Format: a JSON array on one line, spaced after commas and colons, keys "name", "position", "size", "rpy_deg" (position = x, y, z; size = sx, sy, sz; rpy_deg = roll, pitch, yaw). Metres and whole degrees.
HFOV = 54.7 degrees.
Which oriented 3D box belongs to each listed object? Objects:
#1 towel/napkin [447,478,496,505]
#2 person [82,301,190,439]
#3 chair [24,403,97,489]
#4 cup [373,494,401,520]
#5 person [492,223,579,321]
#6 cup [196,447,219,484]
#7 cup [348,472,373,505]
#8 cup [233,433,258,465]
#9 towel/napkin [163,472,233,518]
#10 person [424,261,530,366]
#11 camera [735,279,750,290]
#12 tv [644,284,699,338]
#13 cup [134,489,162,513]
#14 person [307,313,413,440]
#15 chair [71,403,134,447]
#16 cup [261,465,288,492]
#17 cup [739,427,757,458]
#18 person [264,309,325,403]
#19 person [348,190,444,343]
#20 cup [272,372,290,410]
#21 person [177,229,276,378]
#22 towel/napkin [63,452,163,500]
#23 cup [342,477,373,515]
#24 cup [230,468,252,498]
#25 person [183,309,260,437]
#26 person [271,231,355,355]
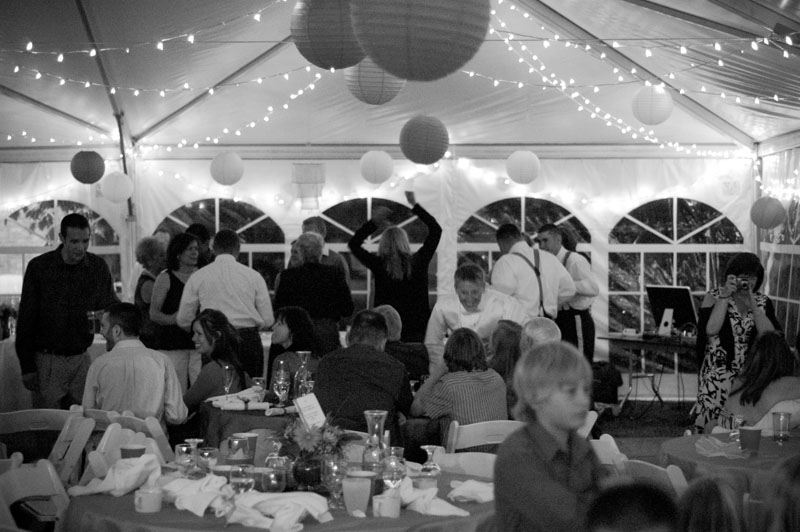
[{"name": "towel/napkin", "position": [0.371, 1.155, 3.960], "size": [0.144, 0.047, 0.144], "rpy_deg": [4, -5, -31]}, {"name": "person", "position": [-2.003, 0.768, 5.783], "size": [0.692, 1.527, 0.541], "rpy_deg": [-7, 22, -19]}, {"name": "chair", "position": [-2.171, 1.110, 4.945], "size": [0.437, 0.599, 0.343], "rpy_deg": [-3, 12, -29]}, {"name": "cup", "position": [-0.071, 1.163, 3.761], "size": [0.102, 0.079, 0.106], "rpy_deg": [0, -4, 0]}, {"name": "person", "position": [1.365, 0.087, 7.734], "size": [0.592, 1.297, 0.524], "rpy_deg": [-17, 24, -13]}, {"name": "cup", "position": [-1.046, 1.059, 4.155], "size": [0.115, 0.194, 0.117], "rpy_deg": [0, 1, 0]}, {"name": "cup", "position": [-0.191, 1.107, 3.866], "size": [0.126, 0.151, 0.129], "rpy_deg": [0, -5, 0]}, {"name": "cup", "position": [-0.828, 0.975, 4.211], "size": [0.152, 0.176, 0.149], "rpy_deg": [0, 0, 0]}, {"name": "towel/napkin", "position": [-1.006, 1.138, 3.846], "size": [0.247, 0.083, 0.214], "rpy_deg": [5, 14, -6]}, {"name": "person", "position": [0.651, 0.405, 6.432], "size": [0.670, 0.420, 1.044], "rpy_deg": [-9, -32, 9]}, {"name": "camera", "position": [2.765, 0.149, 6.232], "size": [0.093, 0.074, 0.034], "rpy_deg": [-1, -7, 25]}, {"name": "tv", "position": [3.293, 0.571, 9.494], "size": [0.558, 0.603, 0.322], "rpy_deg": [1, 15, 22]}, {"name": "cup", "position": [-1.264, 1.159, 3.838], "size": [0.116, 0.086, 0.091], "rpy_deg": [0, 3, -6]}, {"name": "person", "position": [-0.254, 0.809, 5.619], "size": [0.590, 0.664, 1.381], "rpy_deg": [6, -34, 3]}, {"name": "chair", "position": [-1.887, 1.076, 4.963], "size": [0.262, 0.317, 0.350], "rpy_deg": [-11, 2, 21]}, {"name": "cup", "position": [-0.659, 1.090, 4.017], "size": [0.122, 0.114, 0.116], "rpy_deg": [0, -7, 0]}, {"name": "cup", "position": [2.070, 1.041, 4.571], "size": [0.139, 0.150, 0.128], "rpy_deg": [0, -1, 0]}, {"name": "person", "position": [-0.837, 0.698, 6.135], "size": [0.441, 0.895, 0.558], "rpy_deg": [12, -14, -43]}, {"name": "person", "position": [-0.022, 0.350, 7.549], "size": [0.853, 2.240, 0.477], "rpy_deg": [-4, 34, 0]}, {"name": "cup", "position": [-0.926, 0.924, 5.810], "size": [0.163, 0.281, 0.164], "rpy_deg": [3, 0, 0]}, {"name": "person", "position": [-1.565, 0.793, 6.987], "size": [0.739, 2.148, 0.639], "rpy_deg": [-3, 2, -6]}, {"name": "towel/napkin", "position": [-1.528, 1.104, 4.071], "size": [0.476, 0.160, 0.287], "rpy_deg": [-4, 7, -36]}, {"name": "cup", "position": [-0.220, 1.122, 3.790], "size": [0.155, 0.189, 0.162], "rpy_deg": [0, -5, 0]}, {"name": "cup", "position": [-0.812, 1.100, 3.955], "size": [0.108, 0.176, 0.107], "rpy_deg": [-2, -3, 0]}, {"name": "person", "position": [-1.510, 1.089, 6.343], "size": [0.622, 1.572, 0.526], "rpy_deg": [-4, 24, -23]}, {"name": "person", "position": [-0.838, 0.571, 7.341], "size": [0.682, 1.732, 0.542], "rpy_deg": [3, 16, 3]}]
